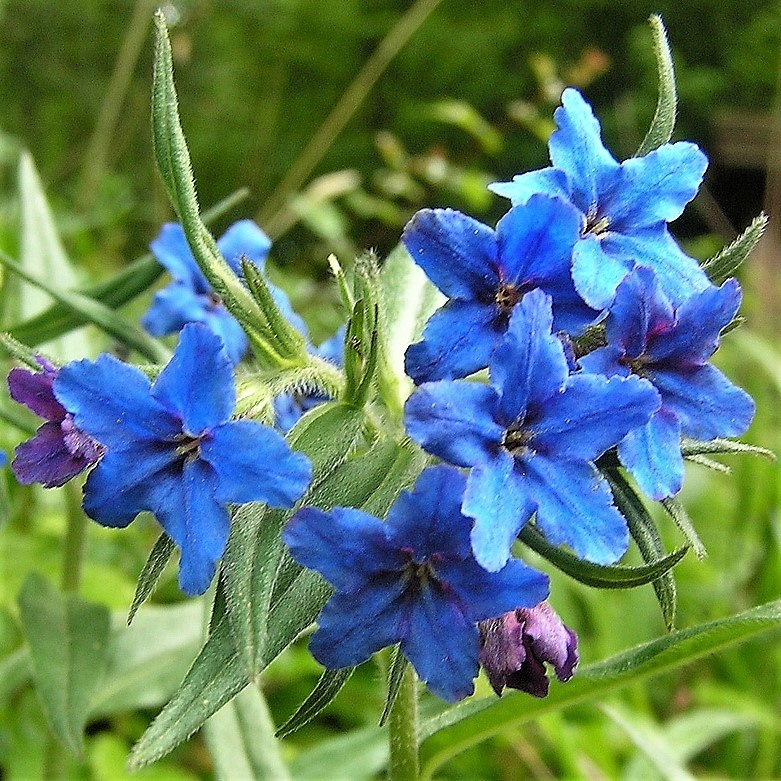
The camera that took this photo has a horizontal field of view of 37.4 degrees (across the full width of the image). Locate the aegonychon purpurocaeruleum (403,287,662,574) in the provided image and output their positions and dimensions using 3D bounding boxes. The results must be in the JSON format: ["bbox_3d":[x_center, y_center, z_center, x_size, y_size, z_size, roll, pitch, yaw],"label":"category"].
[{"bbox_3d":[0.088,0.021,0.846,0.230,0.264,0.079,8,118,25],"label":"aegonychon purpurocaeruleum"}]

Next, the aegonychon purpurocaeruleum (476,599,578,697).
[{"bbox_3d":[0.106,0.197,0.892,0.070,0.027,0.078,-25,105,-14],"label":"aegonychon purpurocaeruleum"}]

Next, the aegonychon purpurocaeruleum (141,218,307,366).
[{"bbox_3d":[-0.173,-0.114,1.240,0.173,0.075,0.163,8,84,24],"label":"aegonychon purpurocaeruleum"}]

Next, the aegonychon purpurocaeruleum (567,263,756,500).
[{"bbox_3d":[0.201,-0.013,0.928,0.158,0.056,0.174,-24,107,-22],"label":"aegonychon purpurocaeruleum"}]

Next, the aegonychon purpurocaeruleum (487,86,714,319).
[{"bbox_3d":[0.162,-0.151,0.963,0.184,0.061,0.188,-6,79,-31],"label":"aegonychon purpurocaeruleum"}]

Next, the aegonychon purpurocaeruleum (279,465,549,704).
[{"bbox_3d":[0.035,0.141,0.848,0.171,0.060,0.201,-4,102,14],"label":"aegonychon purpurocaeruleum"}]

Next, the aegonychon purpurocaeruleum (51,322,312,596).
[{"bbox_3d":[-0.158,0.041,0.863,0.208,0.051,0.164,25,92,30],"label":"aegonychon purpurocaeruleum"}]

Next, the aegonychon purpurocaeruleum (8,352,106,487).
[{"bbox_3d":[-0.258,0.021,0.884,0.033,0.080,0.087,-12,89,-35],"label":"aegonychon purpurocaeruleum"}]
